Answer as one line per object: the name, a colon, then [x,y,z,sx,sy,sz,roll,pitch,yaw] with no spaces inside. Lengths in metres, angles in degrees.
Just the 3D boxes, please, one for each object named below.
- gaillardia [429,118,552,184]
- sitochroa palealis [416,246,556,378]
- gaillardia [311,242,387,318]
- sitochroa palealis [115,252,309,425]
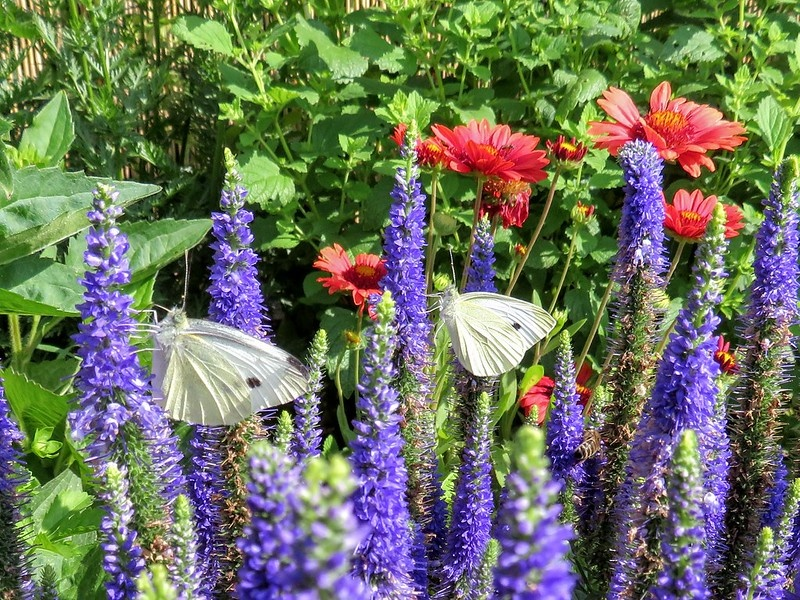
gaillardia: [0.452,-0.760,5.593,0.478,0.354,0.431,-7,11,-11]
sitochroa palealis: [0.448,0.089,5.441,0.747,0.566,0.409,-1,13,6]
gaillardia: [-0.245,-0.132,5.640,0.362,0.390,0.364,-6,14,-17]
sitochroa palealis: [-0.745,0.277,4.721,0.578,0.377,0.587,29,4,6]
